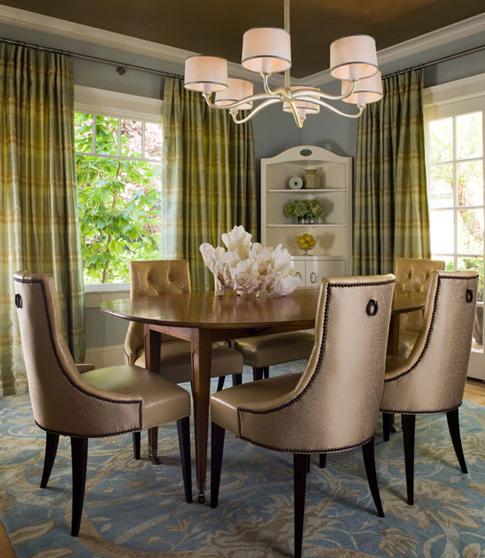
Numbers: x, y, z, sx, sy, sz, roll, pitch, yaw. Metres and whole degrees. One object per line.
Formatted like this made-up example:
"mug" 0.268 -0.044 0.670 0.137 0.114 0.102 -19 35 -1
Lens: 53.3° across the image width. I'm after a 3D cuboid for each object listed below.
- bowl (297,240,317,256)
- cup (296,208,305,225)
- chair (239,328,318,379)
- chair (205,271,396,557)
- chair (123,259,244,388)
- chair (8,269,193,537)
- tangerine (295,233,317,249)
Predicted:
"bowl" 0.644 -0.313 4.772 0.185 0.169 0.174 0 -2 0
"cup" 0.566 -0.594 4.684 0.116 0.163 0.107 2 2 0
"chair" 0.133 0.367 2.606 0.498 0.216 0.306 -3 7 -36
"chair" 0.205 0.428 1.695 0.579 0.885 0.415 2 5 42
"chair" -0.338 0.325 2.596 0.539 0.755 0.606 -10 18 -39
"chair" -0.511 0.422 1.804 0.568 0.899 0.385 -3 4 -34
"tangerine" 0.620 -0.359 4.753 0.171 0.127 0.167 1 -2 -2
